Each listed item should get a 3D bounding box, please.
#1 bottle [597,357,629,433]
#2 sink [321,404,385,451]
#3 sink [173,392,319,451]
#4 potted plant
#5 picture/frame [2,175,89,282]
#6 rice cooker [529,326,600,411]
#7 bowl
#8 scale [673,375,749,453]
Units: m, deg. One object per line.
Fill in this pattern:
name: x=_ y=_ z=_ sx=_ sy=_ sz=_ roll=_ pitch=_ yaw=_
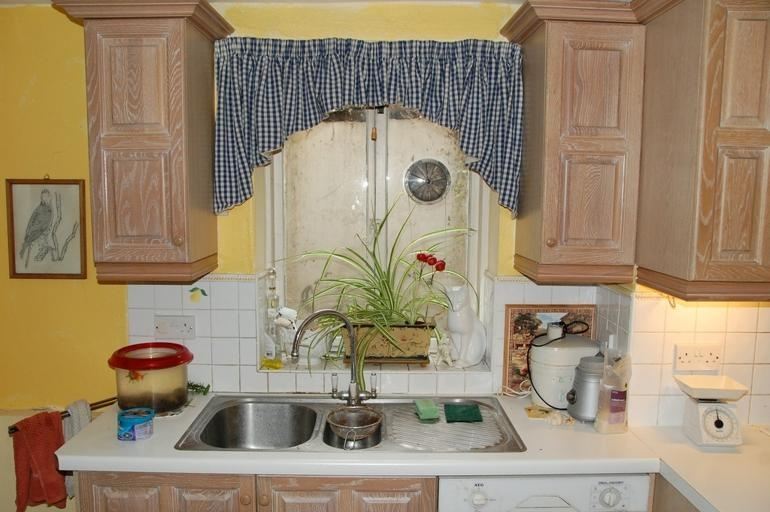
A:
bottle: x=1.125 y=0.672 z=3.266 sx=0.187 sy=0.377 sz=0.100 roll=-2 pitch=1 yaw=3
sink: x=-0.148 y=0.838 z=3.291 sx=0.344 sy=0.158 sz=0.291 roll=2 pitch=9 yaw=0
sink: x=-0.670 y=0.856 z=3.465 sx=0.629 sy=0.240 sz=0.653 roll=0 pitch=3 yaw=-1
potted plant: x=0.013 y=0.072 z=3.654 sx=1.015 sy=1.020 sz=0.372 roll=1 pitch=10 yaw=-4
picture/frame: x=-1.800 y=-0.177 z=3.542 sx=0.430 sy=0.533 sz=0.027 roll=1 pitch=3 yaw=-4
rice cooker: x=0.925 y=0.568 z=3.444 sx=0.357 sy=0.445 sz=0.190 roll=-2 pitch=1 yaw=21
bowl: x=-1.202 y=0.598 z=3.446 sx=0.357 sy=0.321 sz=0.453 roll=1 pitch=1 yaw=10
scale: x=1.578 y=0.753 z=3.233 sx=0.307 sy=0.289 sz=0.219 roll=3 pitch=-3 yaw=-5
